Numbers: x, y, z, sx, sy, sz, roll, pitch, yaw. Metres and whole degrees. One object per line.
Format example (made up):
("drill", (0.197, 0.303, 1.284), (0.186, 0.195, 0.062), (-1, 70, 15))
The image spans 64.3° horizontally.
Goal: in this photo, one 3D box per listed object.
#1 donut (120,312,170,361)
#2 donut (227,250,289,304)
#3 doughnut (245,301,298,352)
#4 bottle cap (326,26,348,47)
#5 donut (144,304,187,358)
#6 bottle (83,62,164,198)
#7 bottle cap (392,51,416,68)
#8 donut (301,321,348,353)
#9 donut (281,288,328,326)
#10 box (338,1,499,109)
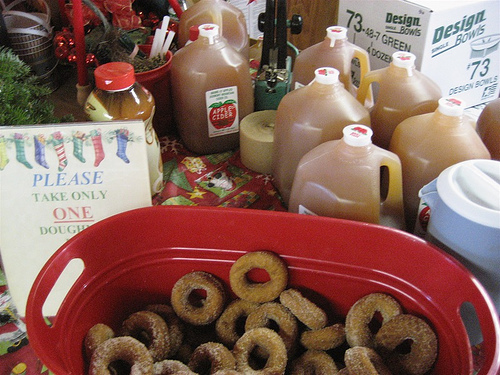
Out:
("donut", (-0.221, 0.307, 0.855), (0.091, 0.092, 0.031), (10, -2, 24))
("donut", (0.022, 0.188, 0.897), (0.123, 0.129, 0.043), (-16, 22, 16))
("doughnut", (0.051, 0.298, 0.875), (0.100, 0.097, 0.034), (-7, -12, 27))
("bottle cap", (0.257, -0.461, 1.188), (0.063, 0.045, 0.063), (7, 42, 13))
("donut", (-0.189, 0.320, 0.896), (0.099, 0.034, 0.096), (-37, 57, 5))
("bottle", (-0.327, -0.130, 1.028), (0.186, 0.343, 0.186), (3, 29, -2))
("bottle cap", (0.401, -0.333, 1.043), (0.055, 0.028, 0.059), (15, 35, 22))
("donut", (0.160, 0.327, 0.871), (0.095, 0.054, 0.049), (-1, 32, 0))
("donut", (0.115, 0.262, 0.882), (0.101, 0.031, 0.054), (38, 63, 16))
("box", (0.587, -0.447, 1.346), (0.581, 0.347, 0.307), (4, 33, 8))
